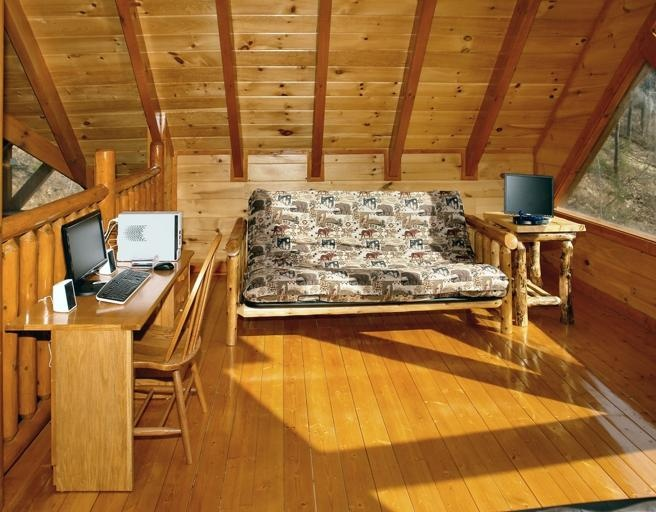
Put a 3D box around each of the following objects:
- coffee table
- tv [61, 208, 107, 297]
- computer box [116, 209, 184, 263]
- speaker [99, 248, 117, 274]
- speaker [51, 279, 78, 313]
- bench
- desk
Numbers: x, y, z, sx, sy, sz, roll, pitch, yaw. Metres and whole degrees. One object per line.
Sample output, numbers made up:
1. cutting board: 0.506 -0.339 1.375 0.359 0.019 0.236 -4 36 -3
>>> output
1. coffee table: 1.694 0.095 3.981 0.871 0.849 1.065 0 8 5
2. tv: -1.220 -0.006 2.433 0.167 0.302 0.470 6 13 -9
3. computer box: -1.070 -0.112 2.919 0.428 0.265 0.193 1 7 -2
4. speaker: -1.224 0.029 2.705 0.106 0.129 0.170 1 1 -11
5. speaker: -1.179 0.180 2.190 0.114 0.140 0.173 0 1 -11
6. bench: 0.255 0.033 3.866 2.141 1.046 1.045 -2 13 -8
7. desk: -0.856 0.364 2.444 0.954 0.674 1.651 -1 11 -9
